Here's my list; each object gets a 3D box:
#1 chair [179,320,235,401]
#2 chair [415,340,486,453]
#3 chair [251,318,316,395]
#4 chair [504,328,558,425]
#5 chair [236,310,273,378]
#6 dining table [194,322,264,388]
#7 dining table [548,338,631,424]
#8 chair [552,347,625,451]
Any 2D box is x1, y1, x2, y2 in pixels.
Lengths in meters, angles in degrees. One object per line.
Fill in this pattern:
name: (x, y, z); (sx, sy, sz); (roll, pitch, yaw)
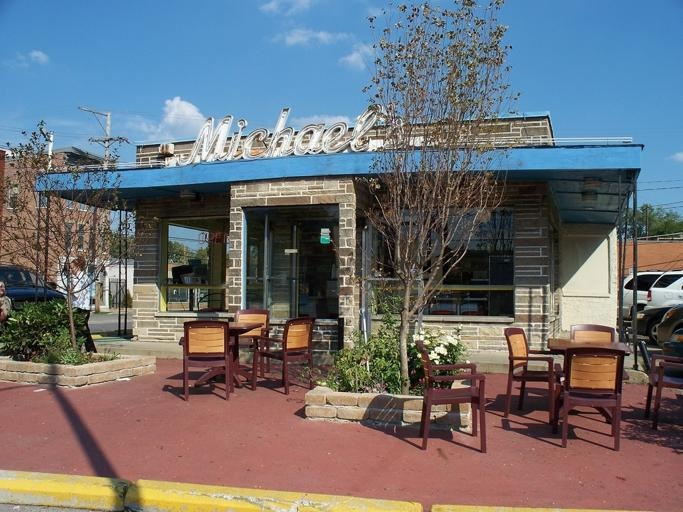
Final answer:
chair: (-2.144, 1.621, 10.882); (0.784, 1.279, 0.894); (0, 0, -13)
chair: (1.396, 1.787, 8.782); (0.905, 1.250, 0.917); (0, -3, 7)
chair: (-0.961, 1.612, 11.477); (0.981, 1.241, 0.949); (1, 2, 19)
chair: (2.865, 1.704, 9.934); (1.044, 1.264, 1.001); (1, -1, -30)
chair: (-1.684, 1.636, 12.550); (0.792, 0.799, 1.050); (5, 34, -7)
dining table: (-1.937, 1.631, 11.488); (1.100, 1.029, 1.117); (-1, -7, 5)
dining table: (3.799, 1.750, 10.433); (1.320, 1.674, 1.222); (-2, -6, 20)
chair: (3.204, 1.768, 8.763); (0.865, 1.231, 1.087); (-1, -2, 17)
